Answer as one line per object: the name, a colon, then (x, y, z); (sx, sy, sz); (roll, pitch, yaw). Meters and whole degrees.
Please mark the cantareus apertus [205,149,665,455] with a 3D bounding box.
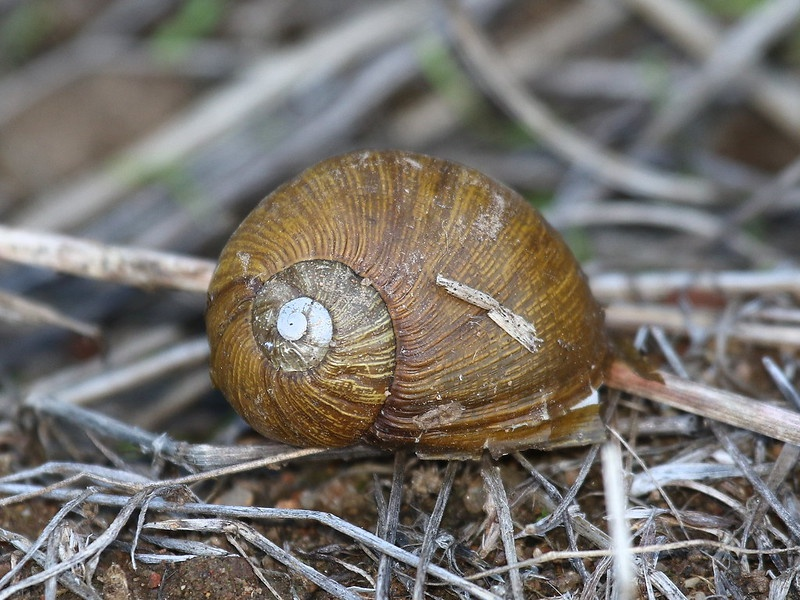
cantareus apertus: (0.022, -0.007, 2.900); (0.986, 1.100, 0.825); (-5, 108, -13)
